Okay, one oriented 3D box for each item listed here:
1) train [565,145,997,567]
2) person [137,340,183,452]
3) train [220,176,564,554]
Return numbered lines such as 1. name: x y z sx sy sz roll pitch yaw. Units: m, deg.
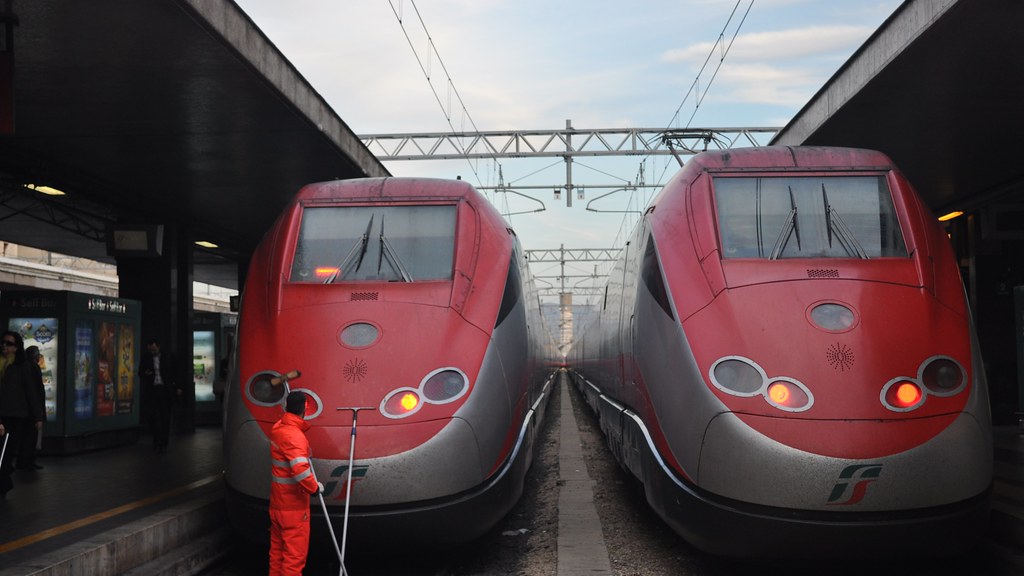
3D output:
1. train: 3.521 0.770 7.763 3.442 4.272 1.767 -1 -1 -5
2. person: -7.729 2.287 14.408 0.789 2.262 1.152 0 -1 -21
3. train: -1.649 0.827 8.348 3.421 4.337 1.924 0 -1 -9
